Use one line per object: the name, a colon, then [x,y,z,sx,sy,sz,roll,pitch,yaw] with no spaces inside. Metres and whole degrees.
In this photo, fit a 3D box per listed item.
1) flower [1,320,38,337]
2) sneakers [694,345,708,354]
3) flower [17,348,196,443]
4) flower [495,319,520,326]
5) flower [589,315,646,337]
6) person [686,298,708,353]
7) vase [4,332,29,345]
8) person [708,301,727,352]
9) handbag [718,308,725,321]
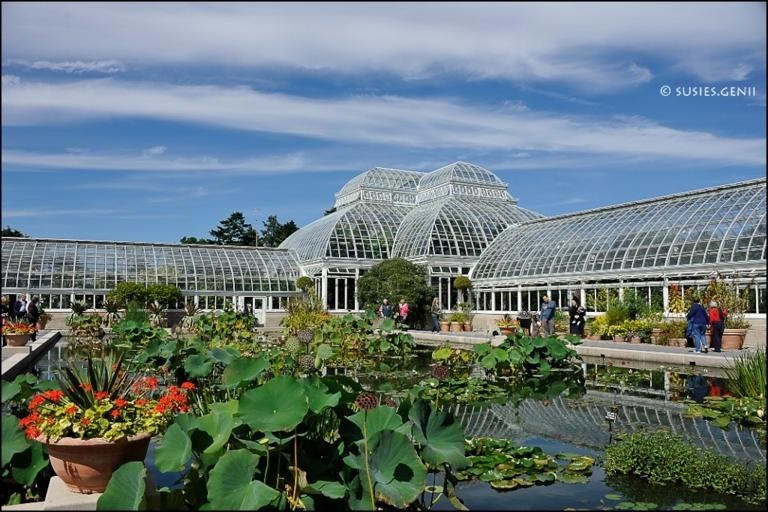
flower: [-10.603,2.119,17.627,1.166,0.570,1.093,4,-7,-27]
sneakers: [9.693,2.886,18.608,0.685,0.261,0.225,-2,4,-41]
flower: [-3.703,1.946,8.194,1.581,0.777,1.769,0,-3,-17]
flower: [5.203,2.878,25.919,0.627,0.217,0.588,2,-6,-17]
flower: [9.173,2.872,23.758,0.964,0.840,2.443,3,-4,-27]
person: [9.738,2.208,18.845,0.508,1.499,0.836,1,-4,14]
vase: [-10.341,2.367,17.119,0.569,0.358,0.983,4,-4,-31]
person: [10.275,2.204,18.863,0.416,1.486,0.857,0,-4,27]
handbag: [10.407,1.814,18.700,0.106,0.365,0.424,7,-16,27]
